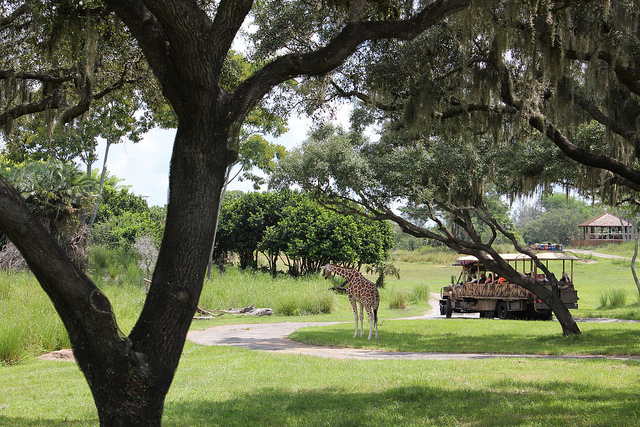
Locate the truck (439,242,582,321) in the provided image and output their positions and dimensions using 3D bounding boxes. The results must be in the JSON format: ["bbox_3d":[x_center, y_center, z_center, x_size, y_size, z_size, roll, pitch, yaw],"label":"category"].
[{"bbox_3d":[9.095,3.780,41.569,3.159,3.813,7.329,4,-5,-35],"label":"truck"}]
